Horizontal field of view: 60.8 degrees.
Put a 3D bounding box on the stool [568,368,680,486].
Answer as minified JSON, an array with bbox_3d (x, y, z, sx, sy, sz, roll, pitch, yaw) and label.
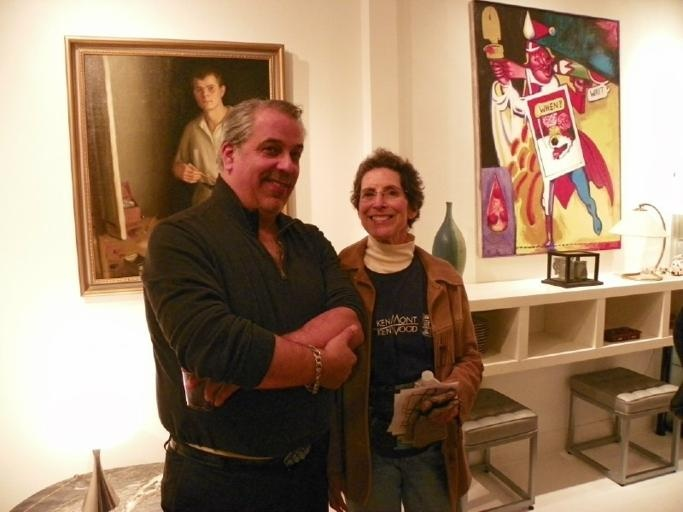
[{"bbox_3d":[2.202,1.247,4.438,0.832,0.672,0.556,-6,10,-13],"label":"stool"}]

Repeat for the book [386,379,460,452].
[{"bbox_3d":[0.402,0.750,2.856,0.384,0.399,0.090,-7,11,-20],"label":"book"}]

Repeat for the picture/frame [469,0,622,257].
[{"bbox_3d":[1.546,-0.922,4.314,1.296,1.828,0.202,-7,11,-20],"label":"picture/frame"}]

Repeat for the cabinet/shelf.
[{"bbox_3d":[1.609,0.433,4.236,1.714,0.573,0.465,-7,10,-19],"label":"cabinet/shelf"}]

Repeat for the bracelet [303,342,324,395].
[{"bbox_3d":[-0.103,0.495,2.513,0.047,0.174,0.138,3,6,2],"label":"bracelet"}]
